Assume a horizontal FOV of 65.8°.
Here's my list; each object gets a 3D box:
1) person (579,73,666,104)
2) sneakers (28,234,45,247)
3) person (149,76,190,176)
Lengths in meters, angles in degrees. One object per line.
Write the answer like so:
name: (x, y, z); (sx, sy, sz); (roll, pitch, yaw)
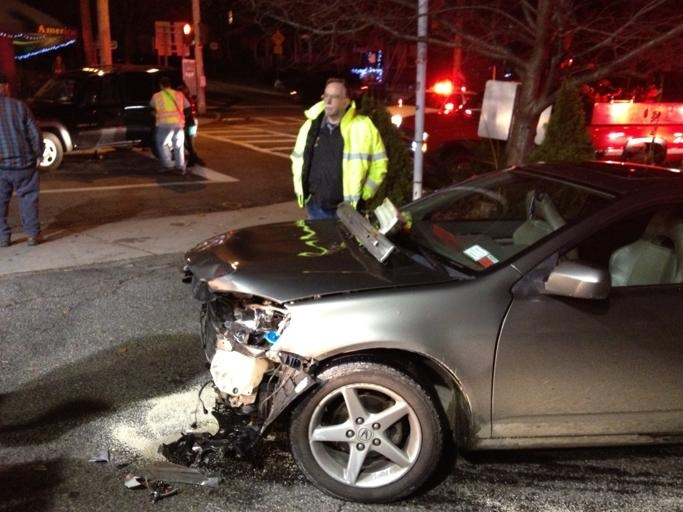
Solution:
person: (6.223, -3.717, 11.538); (1.873, 0.678, 0.918); (-6, 20, -29)
sneakers: (-4.295, -0.231, 7.355); (0.099, 0.100, 0.252); (7, 20, 14)
person: (-4.085, -3.092, 12.422); (0.658, 2.129, 0.820); (-5, 21, -27)
